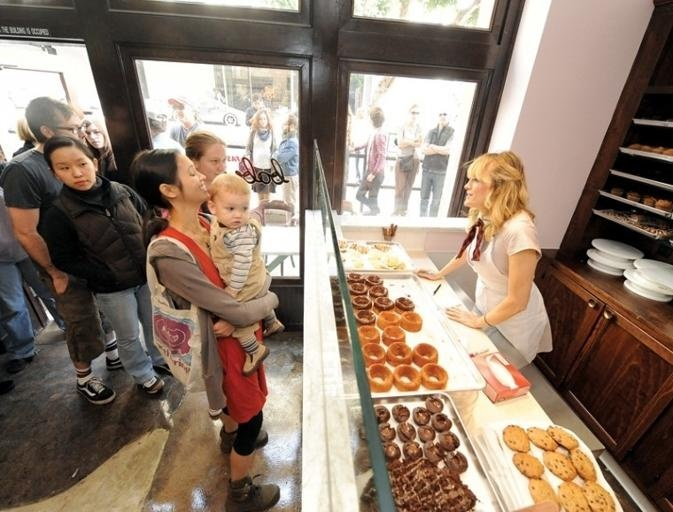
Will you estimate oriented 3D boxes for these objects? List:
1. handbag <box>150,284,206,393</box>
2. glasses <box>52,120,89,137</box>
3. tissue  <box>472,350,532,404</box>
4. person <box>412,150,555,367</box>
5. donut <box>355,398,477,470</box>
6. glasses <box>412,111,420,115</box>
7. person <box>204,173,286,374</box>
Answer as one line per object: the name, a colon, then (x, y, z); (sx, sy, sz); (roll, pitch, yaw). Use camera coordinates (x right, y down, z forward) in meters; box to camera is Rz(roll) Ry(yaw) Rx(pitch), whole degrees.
handbag: (-0.766, 0.383, 1.783); (0.321, 0.465, 0.103); (17, 29, 27)
glasses: (-1.744, -0.827, 2.474); (0.186, 0.060, 0.189); (0, 25, -14)
tissue : (0.829, 0.601, 1.869); (0.231, 0.065, 0.237); (-15, 37, -20)
person: (0.929, 0.084, 2.414); (0.683, 1.340, 0.736); (7, 19, 1)
donut: (0.328, 0.776, 1.612); (0.400, 0.103, 0.423); (-5, 47, -2)
glasses: (0.605, -1.082, 2.873); (0.062, 0.031, 0.022); (6, 26, 5)
person: (-0.493, 0.107, 1.899); (0.319, 0.939, 0.302); (8, 18, -18)
